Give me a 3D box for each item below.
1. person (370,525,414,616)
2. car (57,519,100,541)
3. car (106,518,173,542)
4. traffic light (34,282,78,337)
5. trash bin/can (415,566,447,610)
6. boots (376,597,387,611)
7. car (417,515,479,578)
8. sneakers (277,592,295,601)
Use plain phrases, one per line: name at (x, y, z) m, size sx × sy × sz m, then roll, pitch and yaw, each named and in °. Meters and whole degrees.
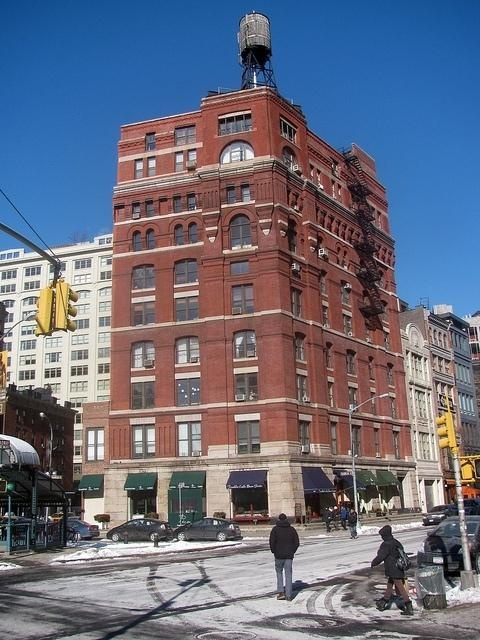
person at (2.880, 4.698, 11.293) m, size 0.671 × 1.452 × 2.185 m, roll -8°, pitch -21°, yaw 12°
car at (-9.884, 13.130, 36.865) m, size 1.479 × 1.278 × 3.821 m, roll -3°, pitch -20°, yaw -1°
car at (-5.990, 12.889, 36.156) m, size 4.217 × 1.365 × 0.959 m, roll -11°, pitch -22°, yaw 19°
traffic light at (-3.730, -0.264, 12.091) m, size 0.786 × 1.276 × 0.434 m, roll 8°, pitch -23°, yaw -27°
trash bin/can at (3.347, 4.746, 10.466) m, size 0.490 × 0.675 × 0.467 m, roll -11°, pitch -22°, yaw 20°
boots at (2.566, 5.187, 10.797) m, size 0.104 × 0.219 × 0.317 m, roll 3°, pitch -3°, yaw -2°
car at (5.561, 5.760, 15.283) m, size 1.472 × 1.333 × 2.758 m, roll -13°, pitch -34°, yaw 27°
sneakers at (0.961, 5.734, 12.222) m, size 0.368 × 0.158 × 0.133 m, roll 23°, pitch -24°, yaw -31°
